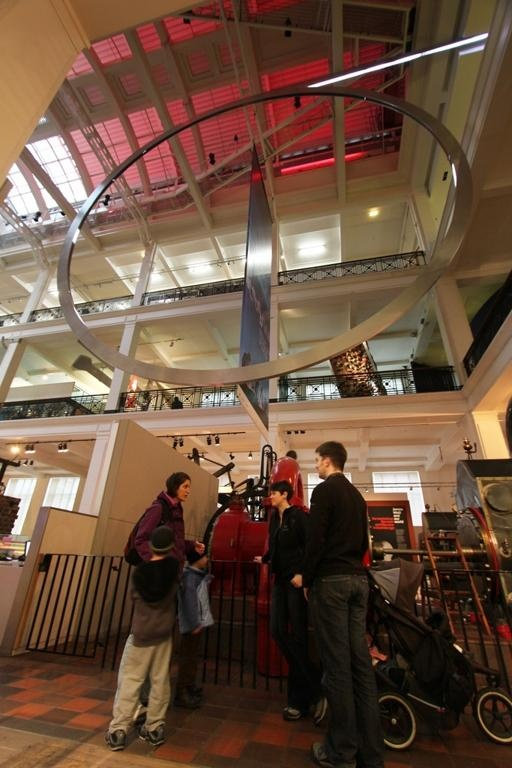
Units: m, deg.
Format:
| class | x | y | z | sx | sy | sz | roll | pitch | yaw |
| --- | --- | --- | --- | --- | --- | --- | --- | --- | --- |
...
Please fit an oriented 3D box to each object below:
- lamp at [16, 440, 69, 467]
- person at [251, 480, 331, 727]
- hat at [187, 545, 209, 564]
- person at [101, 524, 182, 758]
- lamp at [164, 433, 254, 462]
| class | x | y | z | sx | sy | sz | roll | pitch | yaw |
| --- | --- | --- | --- | --- | --- | --- | --- | --- | --- |
| lamp | -5.912 | 1.944 | 11.491 | 1.444 | 0.383 | 1.597 | 1 | -22 | 0 |
| person | 0.185 | 1.087 | 2.147 | 0.273 | 1.068 | 0.440 | 9 | -21 | -19 |
| hat | -0.320 | 0.975 | 2.287 | 0.088 | 0.109 | 0.103 | -5 | 3 | 42 |
| person | -0.450 | 1.049 | 1.741 | 0.222 | 0.810 | 0.430 | 5 | -24 | -9 |
| lamp | -0.975 | 1.736 | 10.923 | 1.960 | 0.440 | 3.052 | 0 | -23 | 3 |
